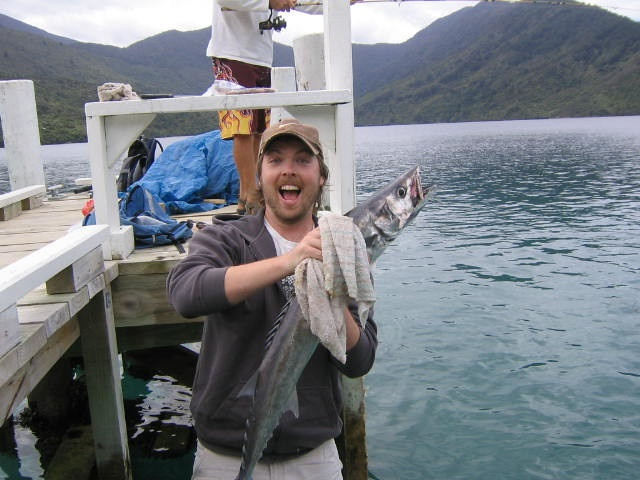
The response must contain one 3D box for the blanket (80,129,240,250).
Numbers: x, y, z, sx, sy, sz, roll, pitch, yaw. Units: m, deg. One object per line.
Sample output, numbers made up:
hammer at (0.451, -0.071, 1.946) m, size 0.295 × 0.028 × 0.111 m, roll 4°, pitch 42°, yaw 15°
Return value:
blanket at (-2.233, -0.817, 7.919) m, size 1.563 × 0.639 × 2.024 m, roll 2°, pitch 16°, yaw 25°
